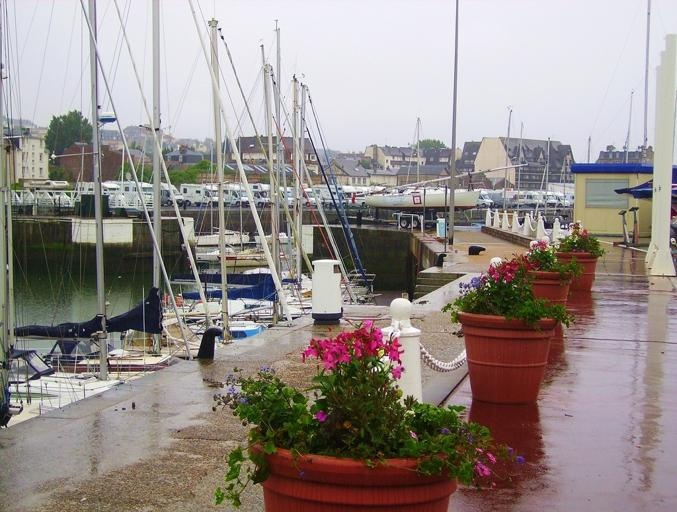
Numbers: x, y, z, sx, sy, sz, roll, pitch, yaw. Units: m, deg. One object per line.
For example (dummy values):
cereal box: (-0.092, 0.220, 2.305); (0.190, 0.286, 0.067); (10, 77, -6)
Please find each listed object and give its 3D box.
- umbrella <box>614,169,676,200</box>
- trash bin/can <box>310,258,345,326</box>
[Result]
umbrella: (10.214, -2.414, 25.905); (1.920, 0.777, 2.024); (-1, 1, -34)
trash bin/can: (-0.211, 0.632, 13.243); (0.491, 1.161, 0.708); (-1, 5, -3)
